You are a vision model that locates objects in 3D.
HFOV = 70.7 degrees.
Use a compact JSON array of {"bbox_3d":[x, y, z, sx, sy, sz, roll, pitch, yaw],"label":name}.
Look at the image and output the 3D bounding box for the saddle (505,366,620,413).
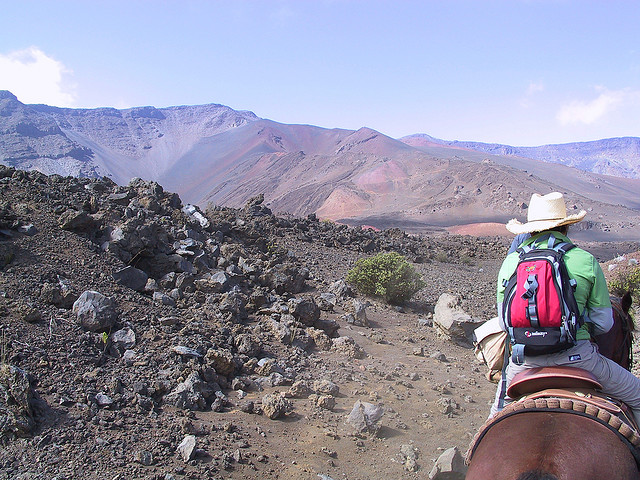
[{"bbox_3d":[2.373,1.424,4.515,0.996,0.363,1.229,-12,-15,30],"label":"saddle"}]
